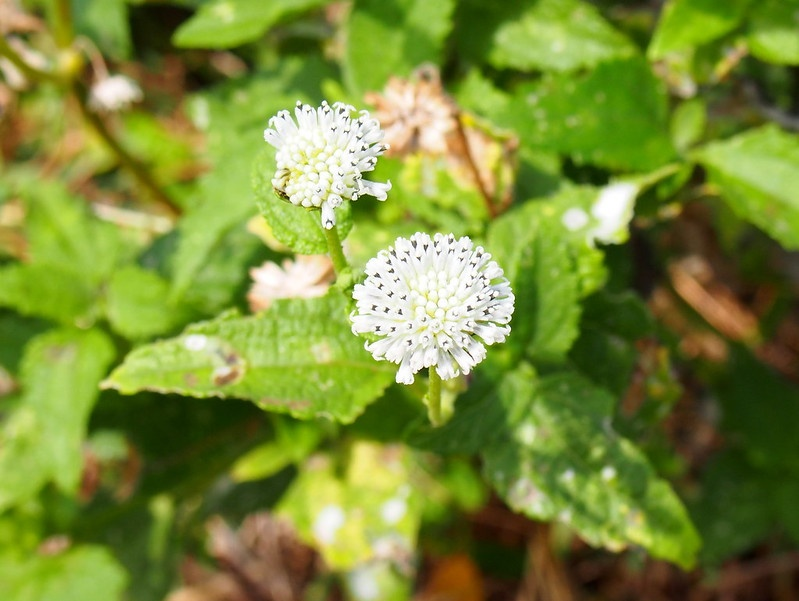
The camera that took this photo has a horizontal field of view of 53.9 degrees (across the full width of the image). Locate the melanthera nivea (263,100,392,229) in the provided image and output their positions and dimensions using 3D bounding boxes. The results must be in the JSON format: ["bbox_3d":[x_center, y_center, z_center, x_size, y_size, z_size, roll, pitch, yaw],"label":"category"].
[{"bbox_3d":[-0.062,-0.122,0.709,0.103,0.074,0.120,-12,82,0],"label":"melanthera nivea"}]

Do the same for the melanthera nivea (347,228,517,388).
[{"bbox_3d":[0.032,-0.019,0.715,0.133,0.145,0.070,1,103,21],"label":"melanthera nivea"}]
